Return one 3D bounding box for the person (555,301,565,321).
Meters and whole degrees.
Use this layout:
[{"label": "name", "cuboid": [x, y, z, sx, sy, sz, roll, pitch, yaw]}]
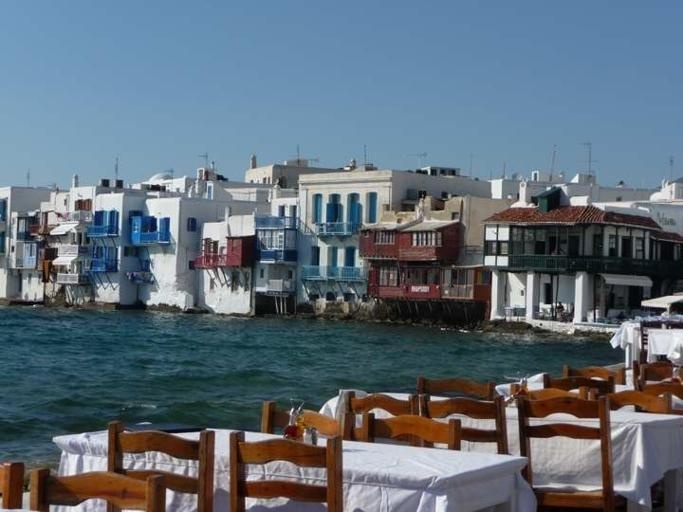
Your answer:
[{"label": "person", "cuboid": [10.993, 2.803, 53.916, 0.467, 0.748, 0.937, 1, -1, 11]}]
